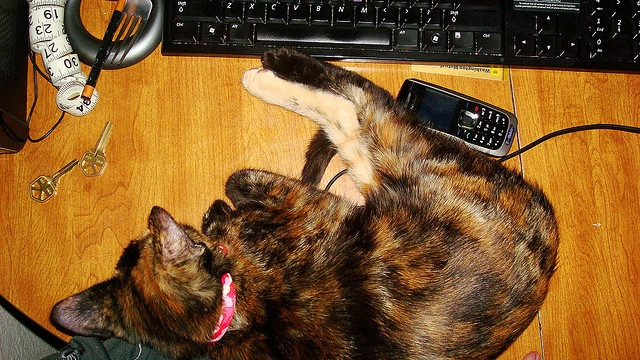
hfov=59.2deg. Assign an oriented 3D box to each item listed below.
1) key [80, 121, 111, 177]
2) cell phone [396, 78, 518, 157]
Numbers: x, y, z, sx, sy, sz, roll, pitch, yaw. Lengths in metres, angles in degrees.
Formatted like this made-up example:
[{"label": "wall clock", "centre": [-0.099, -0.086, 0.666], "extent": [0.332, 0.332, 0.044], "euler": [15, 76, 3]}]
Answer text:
[{"label": "key", "centre": [-0.462, -0.069, 1.171], "extent": [0.045, 0.120, 0.007], "euler": [23, -21, -28]}, {"label": "cell phone", "centre": [0.301, -0.134, 1.244], "extent": [0.275, 0.121, 0.064], "euler": [22, 5, 6]}]
